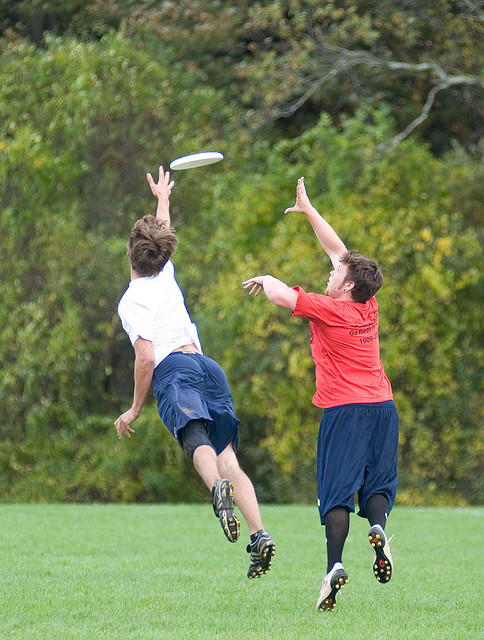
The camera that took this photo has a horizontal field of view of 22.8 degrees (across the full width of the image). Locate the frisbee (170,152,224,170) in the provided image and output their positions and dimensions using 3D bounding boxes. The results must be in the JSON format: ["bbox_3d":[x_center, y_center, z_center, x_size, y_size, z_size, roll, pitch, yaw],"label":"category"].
[{"bbox_3d":[-0.323,-1.115,8.311,0.353,0.096,0.237,3,1,-25],"label":"frisbee"}]

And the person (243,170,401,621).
[{"bbox_3d":[0.546,0.485,6.977,0.899,2.053,0.850,5,2,22],"label":"person"}]

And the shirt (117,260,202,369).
[{"bbox_3d":[-0.481,-0.038,6.973,0.469,0.470,0.259,3,2,-39],"label":"shirt"}]

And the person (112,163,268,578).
[{"bbox_3d":[-0.238,0.417,6.875,0.950,1.684,0.543,5,2,34],"label":"person"}]

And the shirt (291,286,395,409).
[{"bbox_3d":[0.690,0.169,7.943,1.162,0.774,0.426,-6,0,-37],"label":"shirt"}]

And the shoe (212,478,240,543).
[{"bbox_3d":[-0.077,1.014,6.514,0.128,0.343,0.172,-14,8,14],"label":"shoe"}]

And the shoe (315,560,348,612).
[{"bbox_3d":[0.489,1.468,6.675,0.111,0.316,0.166,16,21,-11],"label":"shoe"}]

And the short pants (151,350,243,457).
[{"bbox_3d":[-0.273,0.476,6.895,0.526,0.462,0.358,4,2,-2],"label":"short pants"}]
